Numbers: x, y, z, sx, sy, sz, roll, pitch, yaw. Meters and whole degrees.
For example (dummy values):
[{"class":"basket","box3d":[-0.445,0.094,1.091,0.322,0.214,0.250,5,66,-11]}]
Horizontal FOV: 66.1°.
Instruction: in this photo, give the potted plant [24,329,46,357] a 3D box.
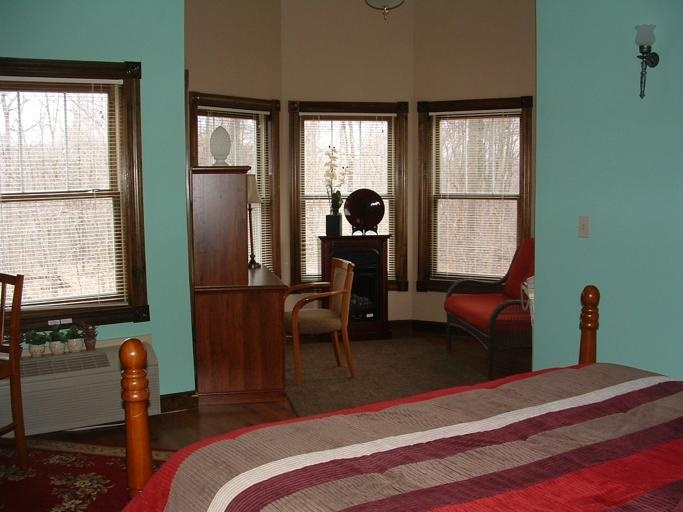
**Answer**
[{"class":"potted plant","box3d":[-2.081,0.593,3.576,0.168,0.184,0.150,2,-2,-9]}]

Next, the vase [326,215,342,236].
[{"class":"vase","box3d":[-0.090,-0.330,5.651,0.202,0.289,0.203,0,5,-3]}]

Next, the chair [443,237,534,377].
[{"class":"chair","box3d":[1.413,0.487,4.976,0.859,1.049,1.122,-2,8,-11]}]

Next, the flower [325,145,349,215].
[{"class":"flower","box3d":[-0.077,-0.850,5.806,0.270,0.746,0.426,1,11,10]}]

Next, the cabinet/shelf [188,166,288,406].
[{"class":"cabinet/shelf","box3d":[-0.846,0.269,4.144,0.670,1.780,1.895,-2,7,-9]}]

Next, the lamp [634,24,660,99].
[{"class":"lamp","box3d":[1.700,-1.088,2.936,0.128,0.390,0.228,5,12,30]}]
